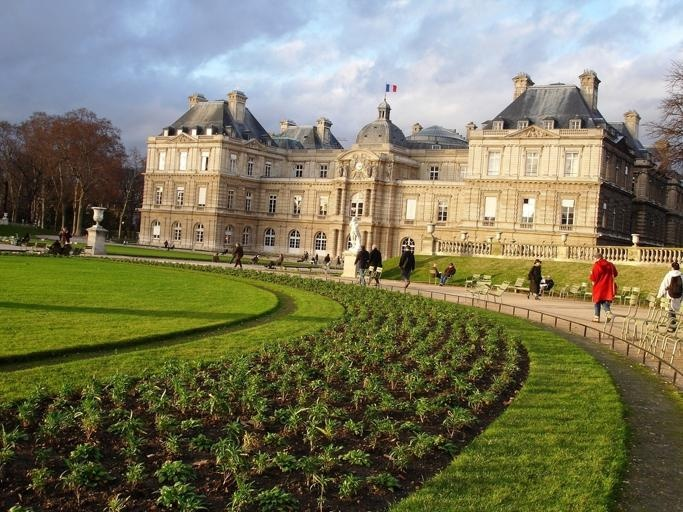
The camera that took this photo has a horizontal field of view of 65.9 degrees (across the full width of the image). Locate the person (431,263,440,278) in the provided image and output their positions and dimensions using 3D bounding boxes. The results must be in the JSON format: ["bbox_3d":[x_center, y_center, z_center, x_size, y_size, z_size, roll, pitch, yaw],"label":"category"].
[{"bbox_3d":[6.919,1.202,39.109,0.705,0.798,1.272,0,0,7],"label":"person"}]

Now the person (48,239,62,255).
[{"bbox_3d":[-21.293,-0.553,39.289,0.892,1.051,1.506,2,1,-35],"label":"person"}]

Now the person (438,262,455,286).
[{"bbox_3d":[7.599,1.322,38.415,0.955,1.620,2.345,3,1,10],"label":"person"}]

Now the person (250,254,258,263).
[{"bbox_3d":[-9.466,0.325,56.506,0.609,1.321,0.483,11,23,32],"label":"person"}]
